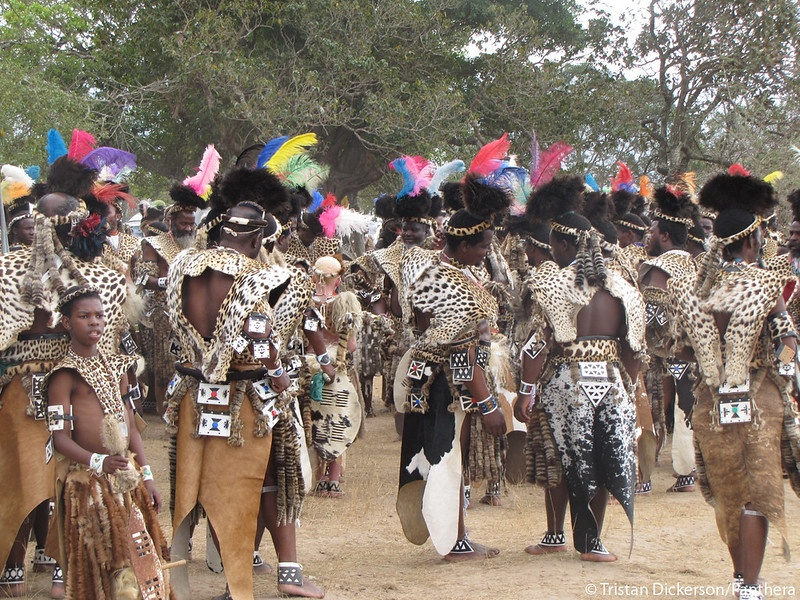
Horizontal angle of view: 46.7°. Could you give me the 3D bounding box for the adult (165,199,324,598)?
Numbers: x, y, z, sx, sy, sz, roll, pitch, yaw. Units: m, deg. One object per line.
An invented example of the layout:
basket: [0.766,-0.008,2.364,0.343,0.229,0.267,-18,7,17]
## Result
adult: [-1.087,0.697,6.237,0.977,2.706,0.683,-1,6,-10]

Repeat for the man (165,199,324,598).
man: [-1.087,0.697,6.237,0.977,2.706,0.683,-1,6,-10]

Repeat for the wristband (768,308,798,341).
wristband: [2.613,0.170,6.391,0.182,0.186,0.195,-3,-17,-10]

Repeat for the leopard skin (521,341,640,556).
leopard skin: [1.442,0.925,7.271,0.895,1.948,0.502,-8,9,-8]

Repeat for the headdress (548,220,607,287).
headdress: [1.341,-0.353,7.043,0.171,0.458,0.335,0,13,-27]
